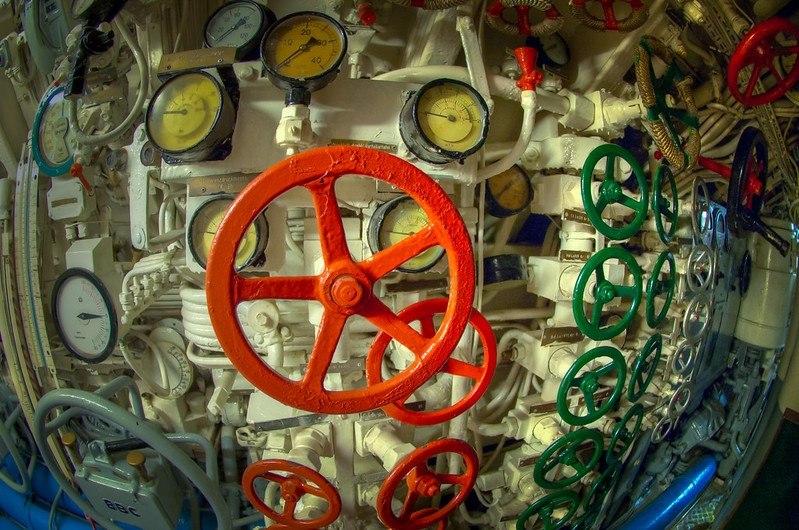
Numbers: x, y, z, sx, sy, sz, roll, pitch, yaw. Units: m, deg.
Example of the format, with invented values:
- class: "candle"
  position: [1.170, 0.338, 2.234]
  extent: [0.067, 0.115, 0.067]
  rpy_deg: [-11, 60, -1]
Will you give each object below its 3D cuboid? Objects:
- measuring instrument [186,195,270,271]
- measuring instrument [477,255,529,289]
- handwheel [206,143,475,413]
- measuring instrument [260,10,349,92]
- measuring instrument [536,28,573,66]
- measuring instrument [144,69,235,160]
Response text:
- class: "measuring instrument"
  position: [-1.142, -0.199, 4.266]
  extent: [0.462, 0.162, 0.531]
  rpy_deg: [17, -88, 7]
- class: "measuring instrument"
  position: [0.776, 0.027, 4.783]
  extent: [0.329, 0.400, 0.273]
  rpy_deg: [8, -78, -4]
- class: "handwheel"
  position: [-0.311, 0.085, 3.608]
  extent: [1.490, 0.251, 1.451]
  rpy_deg: [-22, -78, 1]
- class: "measuring instrument"
  position: [-0.581, -1.289, 3.905]
  extent: [0.518, 0.157, 0.463]
  rpy_deg: [2, -78, -4]
- class: "measuring instrument"
  position: [1.225, -1.653, 5.009]
  extent: [0.224, 0.107, 0.255]
  rpy_deg: [-11, -78, -1]
- class: "measuring instrument"
  position: [-1.282, -0.912, 3.922]
  extent: [0.526, 0.163, 0.538]
  rpy_deg: [10, -79, -6]
